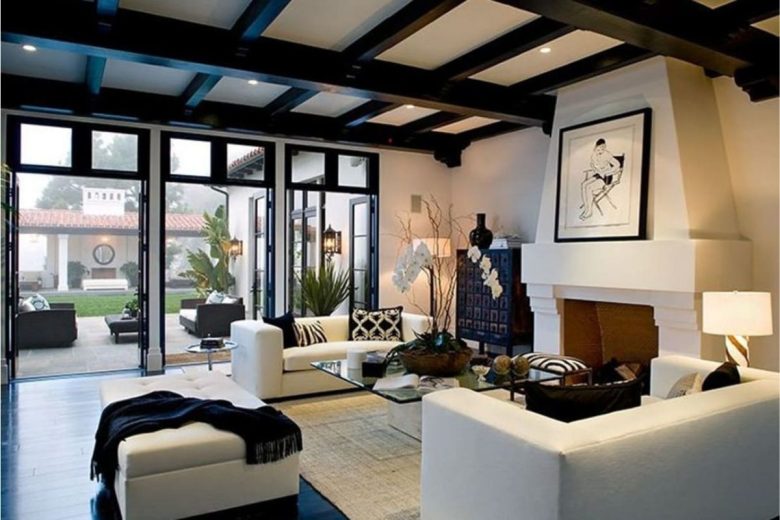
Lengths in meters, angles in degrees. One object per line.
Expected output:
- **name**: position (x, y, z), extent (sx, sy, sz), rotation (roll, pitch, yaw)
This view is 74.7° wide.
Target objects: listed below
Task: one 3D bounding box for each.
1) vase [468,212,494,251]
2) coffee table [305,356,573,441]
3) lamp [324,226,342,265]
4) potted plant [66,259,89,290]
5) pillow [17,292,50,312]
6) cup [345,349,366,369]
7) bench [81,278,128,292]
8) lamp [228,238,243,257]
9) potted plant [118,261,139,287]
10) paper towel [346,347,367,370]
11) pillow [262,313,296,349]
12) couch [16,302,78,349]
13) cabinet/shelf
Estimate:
- **vase**: position (1.383, -0.432, 7.724), extent (0.363, 0.535, 0.566), rotation (-1, 6, 8)
- **coffee table**: position (0.406, 1.158, 4.310), extent (0.943, 0.326, 0.824), rotation (1, 0, -38)
- **lamp**: position (-1.086, -0.286, 9.724), extent (0.239, 0.582, 0.340), rotation (-7, 7, -36)
- **potted plant**: position (-9.859, 0.460, 16.067), extent (0.719, 0.761, 0.764), rotation (0, 1, 14)
- **pillow**: position (-6.748, 0.796, 9.689), extent (0.664, 0.242, 0.654), rotation (7, 0, -26)
- **cup**: position (-0.354, 0.999, 5.147), extent (0.171, 0.142, 0.169), rotation (1, -5, 0)
- **bench**: position (-8.858, 0.789, 16.004), extent (1.215, 0.417, 0.540), rotation (-5, 7, -27)
- **lamp**: position (-3.819, -0.292, 12.728), extent (0.268, 0.445, 0.581), rotation (-5, 7, -28)
- **potted plant**: position (-8.140, 0.456, 15.933), extent (0.752, 0.953, 0.771), rotation (3, -7, -27)
- **paper towel**: position (-0.362, 1.006, 5.202), extent (0.181, 0.154, 0.178), rotation (2, -5, -4)
- **pillow**: position (-1.307, 0.861, 6.072), extent (0.161, 0.418, 0.359), rotation (-14, -9, 40)
- **couch**: position (-5.754, 1.141, 8.599), extent (0.913, 0.813, 1.247), rotation (-1, 0, -32)
- **cabinet/shelf**: position (1.490, 0.545, 7.447), extent (0.409, 1.467, 1.123), rotation (-7, 8, -37)
